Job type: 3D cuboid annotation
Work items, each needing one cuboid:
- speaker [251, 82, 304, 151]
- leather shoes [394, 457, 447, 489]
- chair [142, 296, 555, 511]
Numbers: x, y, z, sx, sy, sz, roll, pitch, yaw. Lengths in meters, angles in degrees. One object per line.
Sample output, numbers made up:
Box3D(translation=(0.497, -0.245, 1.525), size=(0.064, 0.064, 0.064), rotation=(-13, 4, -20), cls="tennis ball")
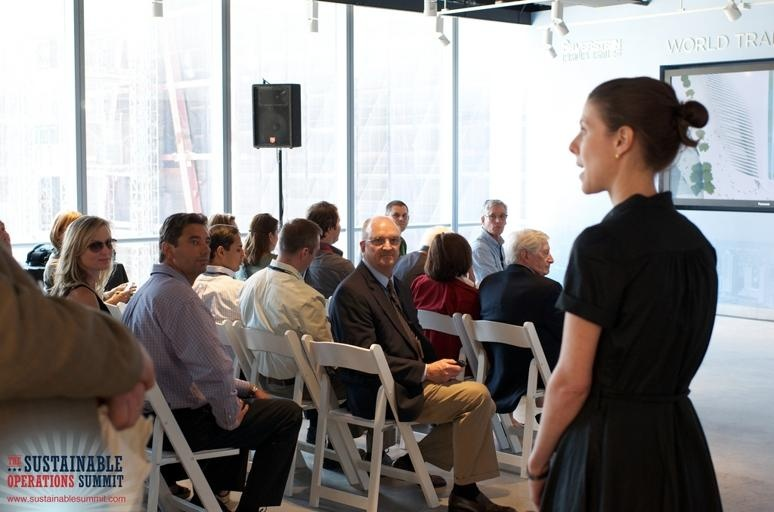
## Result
Box3D(translation=(-1.246, -1.576, 7.537), size=(0.533, 0.713, 0.262), rotation=(-1, 2, -9), cls="speaker")
Box3D(translation=(0.185, 1.398, 4.338), size=(0.394, 0.186, 0.142), rotation=(-4, -6, 26), cls="leather shoes")
Box3D(translation=(0.186, 0.979, 4.086), size=(1.641, 0.884, 1.200), rotation=(-3, -8, 28), cls="chair")
